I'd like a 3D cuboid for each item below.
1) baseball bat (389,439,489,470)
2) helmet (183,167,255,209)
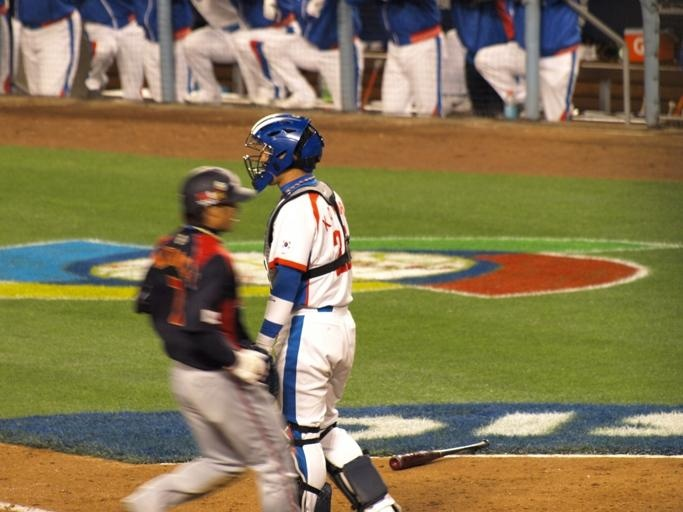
[{"bbox_3d":[1.041,2.150,22.668,0.897,0.125,0.130,-8,42,-27],"label":"baseball bat"},{"bbox_3d":[-1.245,-0.688,21.205,0.609,0.294,0.391,-2,8,-9],"label":"helmet"}]
